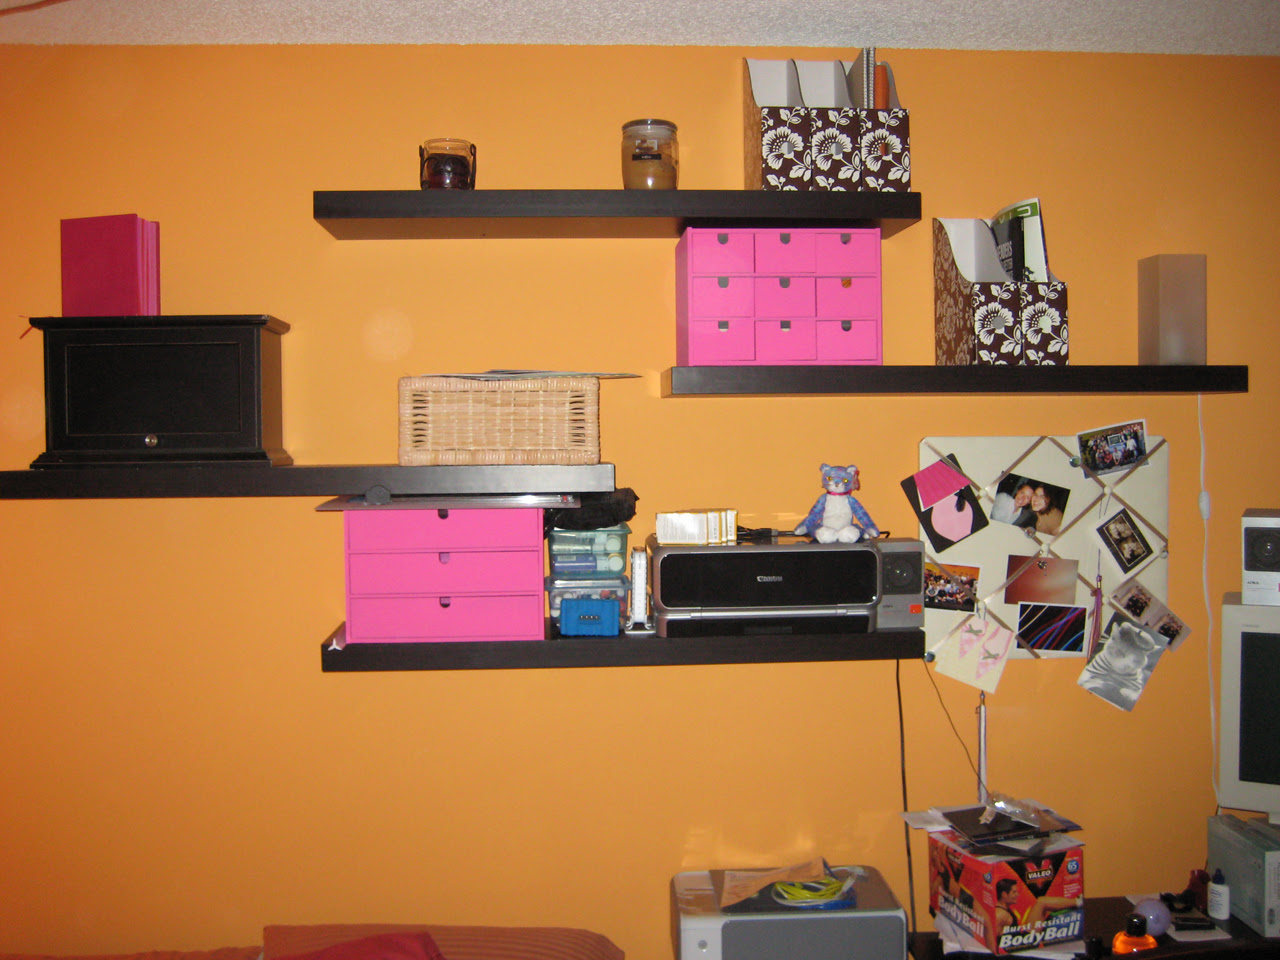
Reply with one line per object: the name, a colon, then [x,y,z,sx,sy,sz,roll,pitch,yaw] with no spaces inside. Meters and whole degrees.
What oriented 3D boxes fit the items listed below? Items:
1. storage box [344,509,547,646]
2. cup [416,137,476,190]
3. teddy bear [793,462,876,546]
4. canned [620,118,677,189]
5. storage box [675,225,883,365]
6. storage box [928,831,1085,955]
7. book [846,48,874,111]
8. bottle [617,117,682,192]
storage box: [-0.505,0.238,3.751,0.600,0.400,0.324,0,-2,-2]
cup: [-0.498,-0.836,3.808,0.139,0.147,0.141,-1,15,0]
teddy bear: [0.531,0.082,3.879,0.276,0.274,0.180,1,-3,3]
canned: [0.030,-0.848,3.796,0.171,0.159,0.170,-1,5,-4]
storage box: [0.372,-0.475,3.776,0.588,0.403,0.332,0,-1,-2]
storage box: [0.967,1.070,3.916,0.313,0.228,0.322,0,-5,-3]
book: [0.583,-1.065,3.847,0.045,0.135,0.130,-2,8,-11]
bottle: [0.027,-0.845,3.802,0.176,0.165,0.175,0,5,-3]
